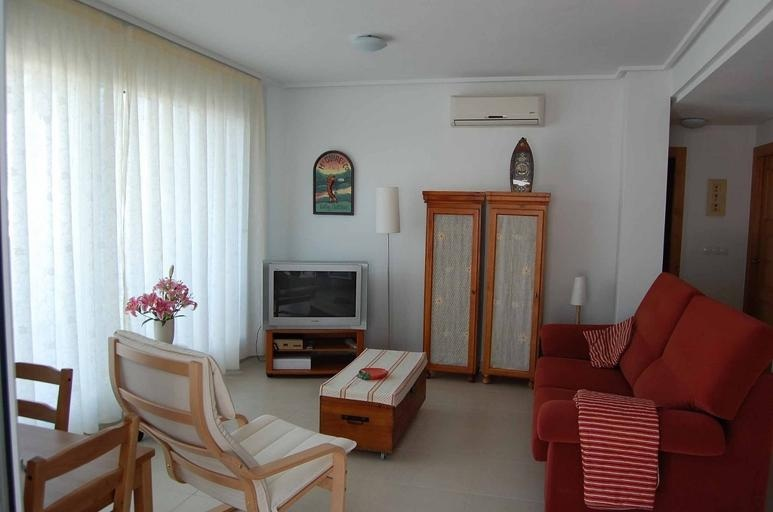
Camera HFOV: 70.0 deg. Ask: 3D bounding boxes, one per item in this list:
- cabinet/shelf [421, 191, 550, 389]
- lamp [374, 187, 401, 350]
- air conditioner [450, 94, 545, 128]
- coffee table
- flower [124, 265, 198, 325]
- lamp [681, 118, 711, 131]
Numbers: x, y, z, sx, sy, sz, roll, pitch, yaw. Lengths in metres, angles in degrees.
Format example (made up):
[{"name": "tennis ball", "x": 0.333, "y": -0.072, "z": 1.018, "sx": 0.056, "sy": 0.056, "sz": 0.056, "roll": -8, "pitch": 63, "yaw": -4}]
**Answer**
[{"name": "cabinet/shelf", "x": 1.013, "y": 0.317, "z": 5.715, "sx": 1.262, "sy": 1.988, "sz": 0.350, "roll": 0, "pitch": 6, "yaw": 15}, {"name": "lamp", "x": 0.031, "y": 0.173, "z": 6.022, "sx": 0.236, "sy": 1.806, "sz": 0.500, "roll": -1, "pitch": 6, "yaw": 2}, {"name": "air conditioner", "x": 1.162, "y": -1.530, "z": 5.815, "sx": 0.961, "sy": 0.320, "sz": 0.140, "roll": 0, "pitch": 6, "yaw": 12}, {"name": "coffee table", "x": -0.138, "y": 1.049, "z": 4.522, "sx": 0.639, "sy": 0.463, "sz": 1.028, "roll": 1, "pitch": 6, "yaw": 16}, {"name": "flower", "x": -1.898, "y": 0.368, "z": 4.752, "sx": 0.558, "sy": 0.609, "sz": 0.453, "roll": 3, "pitch": -7, "yaw": -18}, {"name": "lamp", "x": 3.420, "y": -1.477, "z": 6.141, "sx": 0.261, "sy": 0.101, "sz": 0.401, "roll": 2, "pitch": 6, "yaw": 32}]
